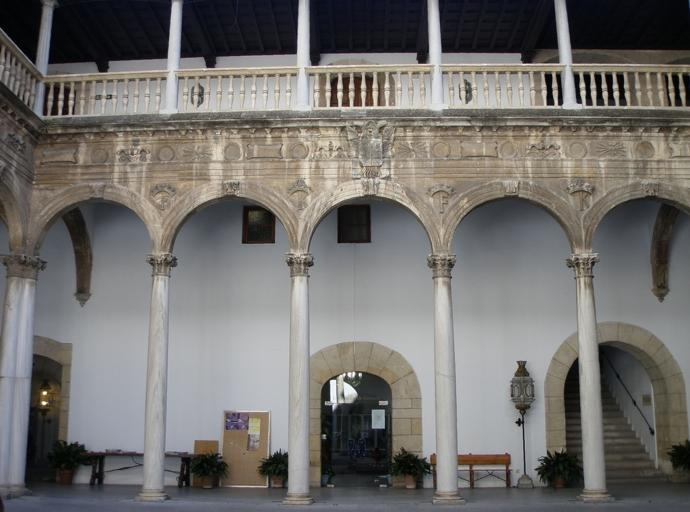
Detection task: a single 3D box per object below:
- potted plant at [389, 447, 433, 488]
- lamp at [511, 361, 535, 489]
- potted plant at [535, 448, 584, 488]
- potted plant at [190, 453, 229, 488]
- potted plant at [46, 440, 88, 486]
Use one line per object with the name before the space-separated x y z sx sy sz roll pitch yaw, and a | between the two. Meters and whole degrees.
potted plant | 1.640 5.242 20.732 0.815 0.778 0.840 -4 -18 27
lamp | 4.450 4.179 20.915 0.598 3.094 0.402 -3 -13 12
potted plant | 5.185 5.249 20.616 1.123 0.825 1.090 -18 -8 40
potted plant | -3.348 5.300 20.735 0.759 0.723 0.787 -6 -19 27
potted plant | -6.957 5.174 21.081 0.960 1.075 0.555 0 -13 -4
